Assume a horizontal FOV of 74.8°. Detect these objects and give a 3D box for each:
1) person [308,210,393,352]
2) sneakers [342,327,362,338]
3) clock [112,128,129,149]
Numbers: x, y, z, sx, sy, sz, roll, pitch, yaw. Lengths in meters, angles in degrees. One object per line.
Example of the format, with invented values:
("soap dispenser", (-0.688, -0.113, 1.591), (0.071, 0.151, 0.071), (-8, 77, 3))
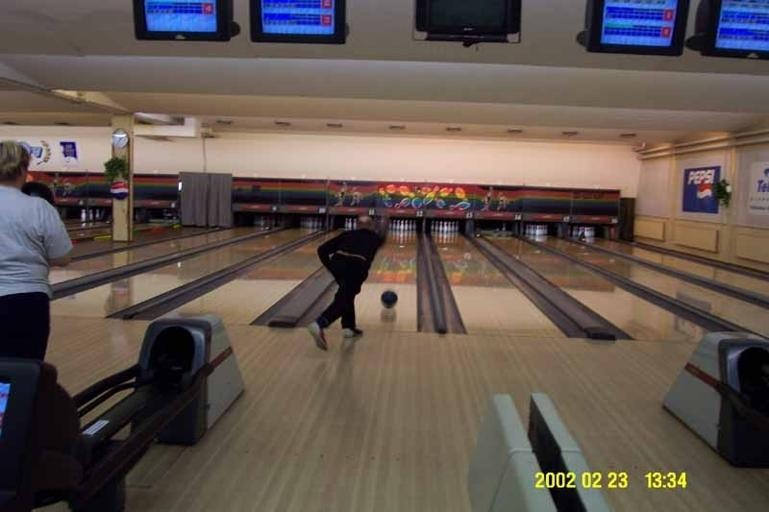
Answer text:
("person", (-0.349, 0.198, 4.293), (0.409, 1.052, 1.017), (5, 12, 28))
("sneakers", (-0.291, 0.669, 4.438), (0.154, 0.064, 0.073), (-3, 4, -14))
("clock", (-4.665, -2.065, 8.873), (0.289, 0.323, 0.044), (18, 17, -3))
